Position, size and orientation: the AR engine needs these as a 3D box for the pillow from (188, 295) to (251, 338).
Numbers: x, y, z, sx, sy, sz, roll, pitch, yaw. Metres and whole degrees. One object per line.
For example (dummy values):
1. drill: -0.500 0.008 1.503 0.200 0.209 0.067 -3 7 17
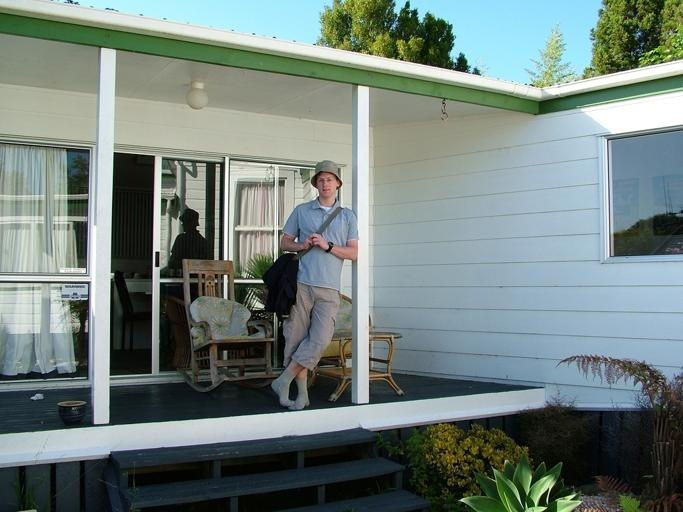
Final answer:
1. pillow: -1.277 0.641 6.183 0.667 0.411 0.200 0 -2 -41

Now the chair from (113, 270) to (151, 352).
1. chair: -3.063 0.808 8.644 0.480 1.176 0.797 0 -1 -19

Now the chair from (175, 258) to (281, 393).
1. chair: -1.180 0.662 6.112 0.754 1.392 1.074 6 -9 -44

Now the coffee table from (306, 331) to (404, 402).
1. coffee table: 0.181 1.130 6.041 0.785 0.604 0.811 1 -7 -13

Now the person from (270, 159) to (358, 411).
1. person: -0.222 0.244 5.177 0.772 2.148 0.356 0 -2 -6

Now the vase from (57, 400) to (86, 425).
1. vase: -2.079 1.228 4.596 0.178 0.151 0.186 1 -12 -6

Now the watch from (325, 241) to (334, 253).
1. watch: -0.092 -0.067 5.115 0.058 0.091 0.079 23 -49 -22

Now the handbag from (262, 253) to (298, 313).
1. handbag: -0.513 0.227 5.052 0.302 0.492 0.147 0 -2 -9
